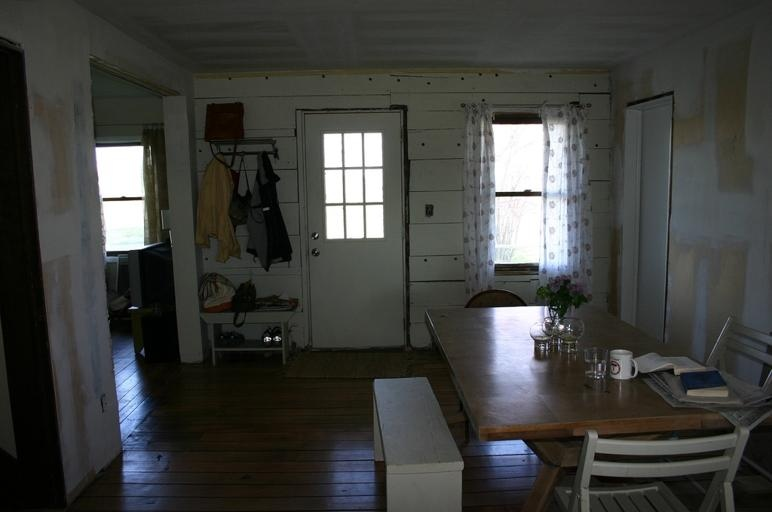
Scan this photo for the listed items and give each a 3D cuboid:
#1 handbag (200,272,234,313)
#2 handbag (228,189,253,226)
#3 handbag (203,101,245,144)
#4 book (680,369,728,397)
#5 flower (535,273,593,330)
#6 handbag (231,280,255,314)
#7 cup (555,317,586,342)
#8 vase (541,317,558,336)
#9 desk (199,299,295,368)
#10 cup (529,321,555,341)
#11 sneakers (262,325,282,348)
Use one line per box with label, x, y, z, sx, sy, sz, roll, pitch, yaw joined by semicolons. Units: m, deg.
handbag;-1.754;0.393;6.172;0.410;0.417;0.310;-1;-1;0
handbag;-1.498;-0.496;6.211;0.213;0.364;0.182;-2;5;0
handbag;-1.637;-1.341;6.073;0.452;0.419;0.161;0;-1;-3
book;1.902;0.766;3.589;0.269;0.136;0.131;-2;4;-4
flower;1.281;0.289;4.387;0.389;0.466;0.468;-5;10;-13
handbag;-1.449;0.423;6.144;0.221;0.300;0.313;0;-19;0
cup;1.260;0.493;4.121;0.169;0.137;0.167;0;3;0
vase;1.133;0.484;4.115;0.096;0.122;0.048;1;-4;2
desk;-1.421;0.786;6.282;0.988;0.634;0.332;-2;5;1
cup;1.065;0.511;4.126;0.135;0.109;0.134;0;-4;0
sneakers;-1.171;0.843;6.217;0.164;0.080;0.226;1;9;-4
